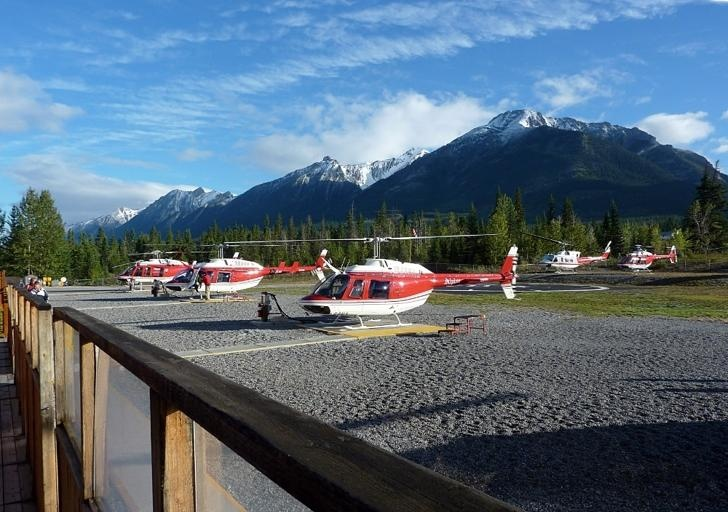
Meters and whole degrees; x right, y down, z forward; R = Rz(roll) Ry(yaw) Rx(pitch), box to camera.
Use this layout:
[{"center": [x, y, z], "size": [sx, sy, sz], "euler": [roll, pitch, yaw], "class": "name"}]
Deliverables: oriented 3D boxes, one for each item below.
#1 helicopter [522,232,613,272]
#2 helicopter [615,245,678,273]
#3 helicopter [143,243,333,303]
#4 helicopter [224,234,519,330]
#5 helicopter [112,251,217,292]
[{"center": [24.566, -0.494, 69.272], "size": [10.560, 4.090, 9.256], "euler": [3, 7, 32], "class": "helicopter"}, {"center": [30.736, 0.313, 61.136], "size": [5.329, 1.744, 4.469], "euler": [-2, 3, -19], "class": "helicopter"}, {"center": [-6.553, 0.957, 31.734], "size": [9.130, 2.483, 2.156], "euler": [1, 6, -5], "class": "helicopter"}, {"center": [1.795, 1.097, 20.847], "size": [7.453, 1.958, 7.007], "euler": [2, -3, -23], "class": "helicopter"}, {"center": [-17.485, 1.142, 47.950], "size": [6.055, 2.537, 6.995], "euler": [2, 1, 44], "class": "helicopter"}]
